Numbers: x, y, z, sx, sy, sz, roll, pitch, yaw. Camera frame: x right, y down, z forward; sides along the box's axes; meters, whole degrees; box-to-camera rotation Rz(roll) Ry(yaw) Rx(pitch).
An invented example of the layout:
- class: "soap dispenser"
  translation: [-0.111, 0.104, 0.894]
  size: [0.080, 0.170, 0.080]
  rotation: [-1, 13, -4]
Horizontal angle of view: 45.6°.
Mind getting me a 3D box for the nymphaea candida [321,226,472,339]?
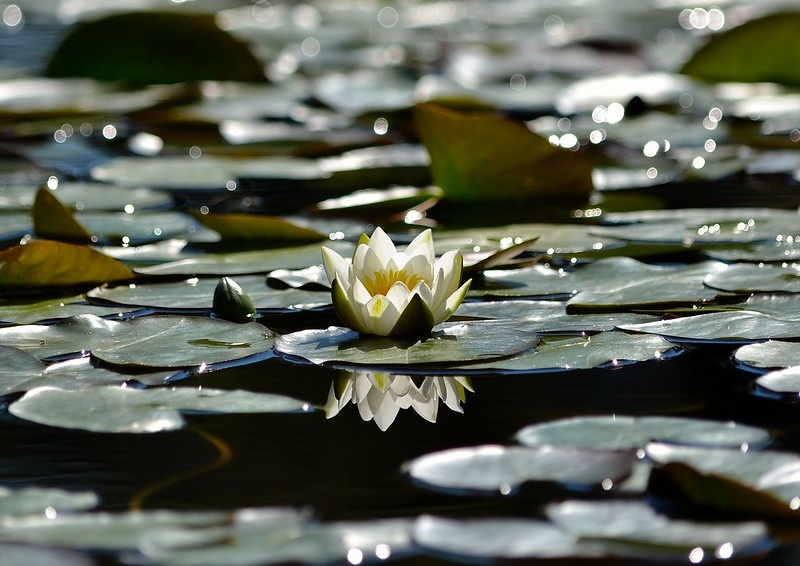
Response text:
- class: "nymphaea candida"
  translation: [-0.010, 0.027, 1.397]
  size: [0.229, 0.069, 0.206]
  rotation: [8, -10, -4]
